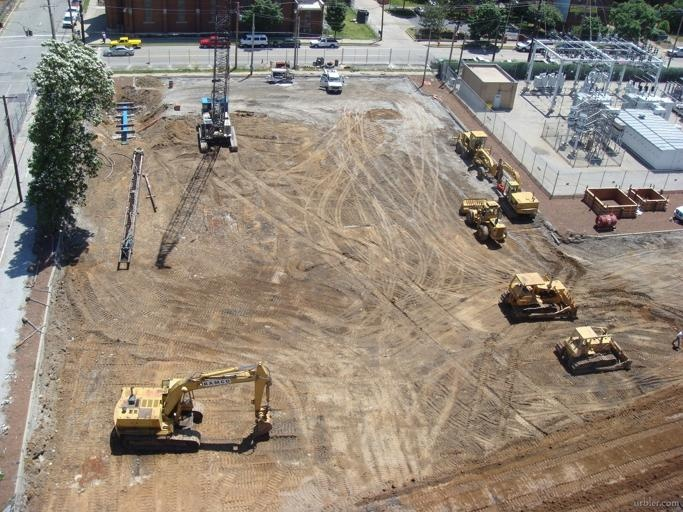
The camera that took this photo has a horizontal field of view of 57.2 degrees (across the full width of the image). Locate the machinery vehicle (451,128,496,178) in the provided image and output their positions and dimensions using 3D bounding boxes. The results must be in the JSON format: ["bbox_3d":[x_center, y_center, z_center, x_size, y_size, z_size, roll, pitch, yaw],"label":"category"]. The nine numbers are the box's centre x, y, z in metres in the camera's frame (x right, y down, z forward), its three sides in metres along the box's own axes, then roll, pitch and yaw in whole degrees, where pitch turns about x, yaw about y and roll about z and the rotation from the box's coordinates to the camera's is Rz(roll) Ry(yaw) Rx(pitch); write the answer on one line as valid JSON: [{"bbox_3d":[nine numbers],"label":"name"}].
[{"bbox_3d":[13.265,-9.397,58.178,2.725,2.789,5.775,-7,42,-22],"label":"machinery vehicle"}]

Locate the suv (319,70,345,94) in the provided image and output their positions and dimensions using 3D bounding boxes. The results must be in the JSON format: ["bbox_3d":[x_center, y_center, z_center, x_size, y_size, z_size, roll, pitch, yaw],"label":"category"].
[{"bbox_3d":[-1.098,-19.419,70.547,2.231,1.629,3.279,-6,48,-8],"label":"suv"}]

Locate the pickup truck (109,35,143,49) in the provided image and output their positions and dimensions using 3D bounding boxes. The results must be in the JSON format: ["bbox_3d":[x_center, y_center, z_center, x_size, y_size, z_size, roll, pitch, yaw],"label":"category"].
[{"bbox_3d":[-27.397,-26.833,79.581,4.075,1.552,2.216,2,32,-9],"label":"pickup truck"}]

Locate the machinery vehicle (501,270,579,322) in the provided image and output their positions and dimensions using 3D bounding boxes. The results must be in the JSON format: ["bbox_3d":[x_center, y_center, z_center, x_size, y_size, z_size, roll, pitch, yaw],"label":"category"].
[{"bbox_3d":[13.854,3.008,43.664,4.800,2.353,3.135,-5,37,-4],"label":"machinery vehicle"}]

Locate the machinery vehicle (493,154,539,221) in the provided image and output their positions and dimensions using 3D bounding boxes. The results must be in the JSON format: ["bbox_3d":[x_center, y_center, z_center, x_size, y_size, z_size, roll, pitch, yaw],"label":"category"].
[{"bbox_3d":[15.149,-5.683,54.021,2.616,2.760,6.832,-4,32,-9],"label":"machinery vehicle"}]

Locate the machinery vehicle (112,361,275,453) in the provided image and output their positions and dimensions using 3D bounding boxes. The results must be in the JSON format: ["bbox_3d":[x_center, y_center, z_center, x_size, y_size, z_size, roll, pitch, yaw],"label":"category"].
[{"bbox_3d":[-7.559,7.447,35.788,10.827,6.020,3.799,0,49,-10],"label":"machinery vehicle"}]

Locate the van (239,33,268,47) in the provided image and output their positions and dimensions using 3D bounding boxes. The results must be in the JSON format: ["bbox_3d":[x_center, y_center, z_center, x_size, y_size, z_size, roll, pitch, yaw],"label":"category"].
[{"bbox_3d":[-11.821,-28.761,84.434,3.573,1.469,4.929,1,25,-10],"label":"van"}]

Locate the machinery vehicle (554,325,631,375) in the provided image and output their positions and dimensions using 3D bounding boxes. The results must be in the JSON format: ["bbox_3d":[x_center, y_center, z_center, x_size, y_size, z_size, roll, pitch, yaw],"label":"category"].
[{"bbox_3d":[16.294,6.222,40.417,4.376,1.792,2.792,-5,34,-9],"label":"machinery vehicle"}]
